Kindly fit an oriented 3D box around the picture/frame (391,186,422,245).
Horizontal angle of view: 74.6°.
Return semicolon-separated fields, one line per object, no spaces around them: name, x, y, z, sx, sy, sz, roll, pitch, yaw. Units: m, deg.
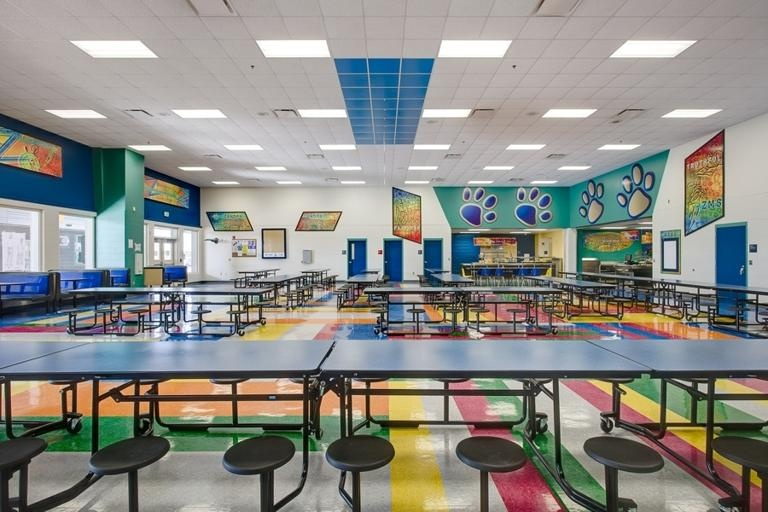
picture/frame;0.871;-1.553;19.483;1.068;2.119;0.325;-1;9;-3
